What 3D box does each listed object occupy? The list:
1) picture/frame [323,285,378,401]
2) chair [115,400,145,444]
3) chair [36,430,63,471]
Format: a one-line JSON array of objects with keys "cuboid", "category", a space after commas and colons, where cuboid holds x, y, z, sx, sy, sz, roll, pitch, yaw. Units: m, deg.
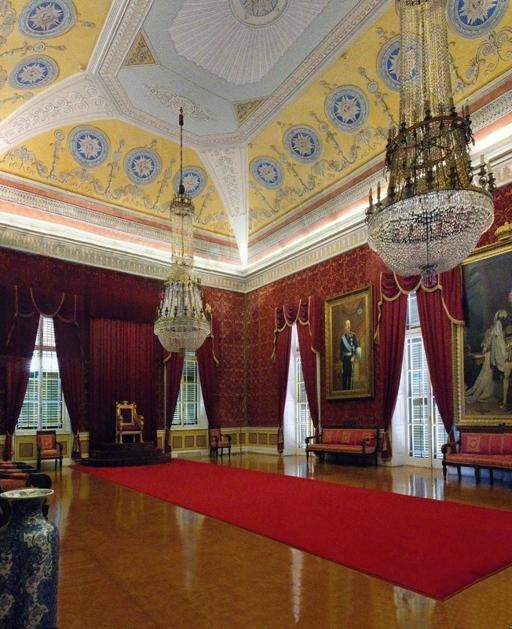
[{"cuboid": [2.011, 0.618, 10.456, 0.138, 3.039, 1.806, 12, -20, -32], "category": "picture/frame"}, {"cuboid": [-2.790, 2.325, 11.259, 0.519, 0.883, 0.510, 5, -11, -31], "category": "chair"}, {"cuboid": [-4.116, 2.661, 10.174, 0.517, 0.739, 1.078, 4, -13, -22], "category": "chair"}]
